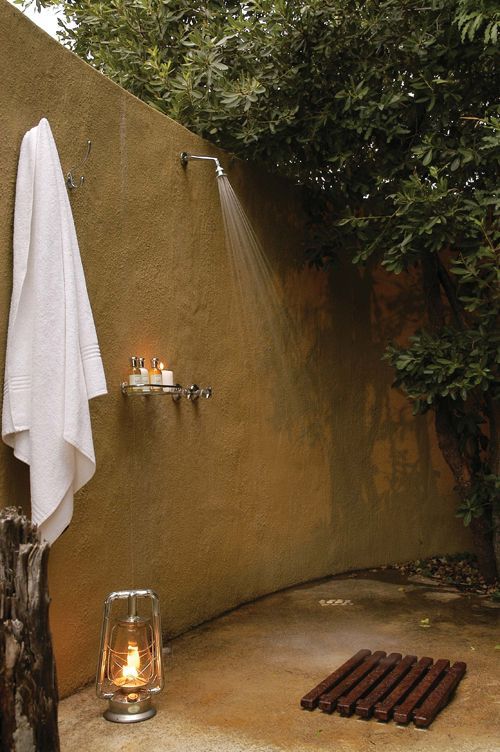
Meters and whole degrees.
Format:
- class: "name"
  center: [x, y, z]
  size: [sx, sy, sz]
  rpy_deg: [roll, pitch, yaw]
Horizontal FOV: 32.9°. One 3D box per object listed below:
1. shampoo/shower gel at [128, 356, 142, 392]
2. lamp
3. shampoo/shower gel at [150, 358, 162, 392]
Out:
- class: "shampoo/shower gel"
  center: [-0.563, -0.008, 4.135]
  size: [0.064, 0.166, 0.077]
  rpy_deg: [0, 0, -9]
- class: "lamp"
  center: [-0.526, 1.155, 3.767]
  size: [0.269, 0.545, 0.723]
  rpy_deg: [0, -1, -6]
- class: "shampoo/shower gel"
  center: [-0.474, -0.008, 4.226]
  size: [0.062, 0.167, 0.188]
  rpy_deg: [0, 0, -7]
